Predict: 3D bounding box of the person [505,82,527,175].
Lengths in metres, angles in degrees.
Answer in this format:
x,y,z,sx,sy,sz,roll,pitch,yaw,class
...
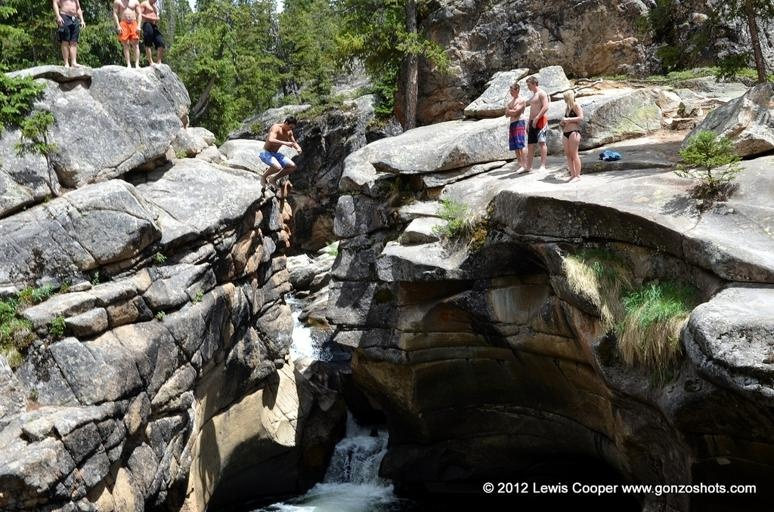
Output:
x,y,z,sx,sy,sz,roll,pitch,yaw,class
3.279,-3.120,15.300,0.496,2.286,0.946,-6,25,13,person

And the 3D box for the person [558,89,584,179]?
x,y,z,sx,sy,sz,roll,pitch,yaw,class
4.159,-2.627,13.681,0.413,1.894,0.779,-4,26,17,person
